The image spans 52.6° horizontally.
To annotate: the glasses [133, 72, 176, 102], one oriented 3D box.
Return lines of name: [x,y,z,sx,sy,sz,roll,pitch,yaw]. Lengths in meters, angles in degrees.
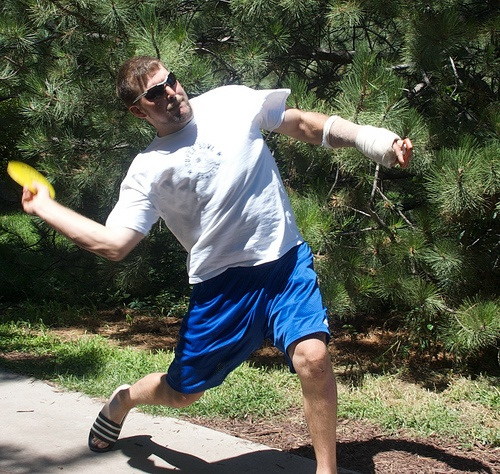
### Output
glasses: [-0.434,-0.661,2.283,0.133,0.043,0.160,-32,9,-35]
